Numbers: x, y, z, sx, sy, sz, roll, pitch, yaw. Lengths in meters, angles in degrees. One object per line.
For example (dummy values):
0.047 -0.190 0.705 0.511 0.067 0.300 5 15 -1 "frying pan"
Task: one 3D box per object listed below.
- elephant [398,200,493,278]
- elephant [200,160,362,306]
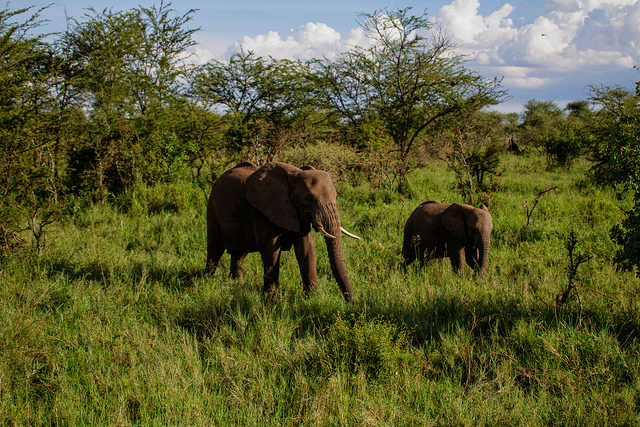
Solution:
2.827 0.578 13.788 1.089 1.597 2.526 4 -1 -39 "elephant"
-0.881 0.389 12.510 3.674 2.691 1.857 6 10 28 "elephant"
